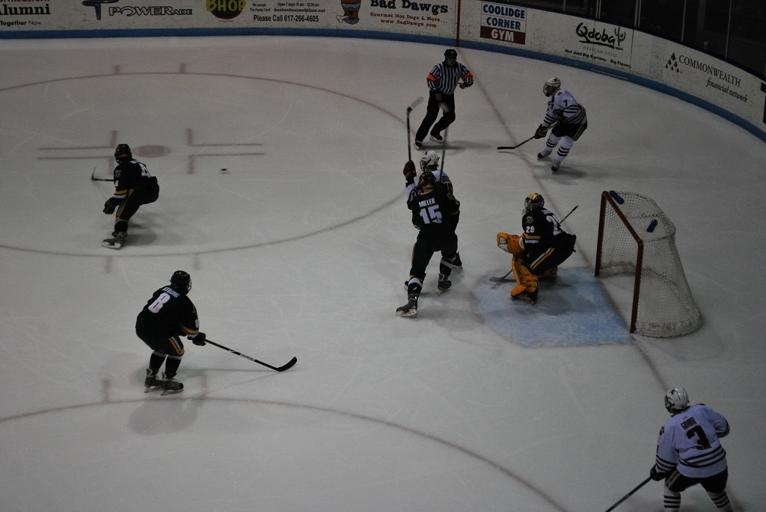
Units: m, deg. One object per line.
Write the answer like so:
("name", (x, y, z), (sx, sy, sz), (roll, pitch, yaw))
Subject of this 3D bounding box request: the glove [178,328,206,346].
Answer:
("glove", (-2.143, 0.911, 8.604), (0.220, 0.091, 0.225), (8, -12, 4))

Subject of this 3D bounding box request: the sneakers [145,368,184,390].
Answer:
("sneakers", (-2.520, 1.423, 8.824), (0.452, 0.198, 0.207), (1, 5, -4))

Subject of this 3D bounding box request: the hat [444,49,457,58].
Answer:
("hat", (1.149, -3.511, 13.268), (0.223, 0.103, 0.280), (-2, 14, -8))

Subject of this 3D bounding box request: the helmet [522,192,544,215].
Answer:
("helmet", (1.985, -0.715, 10.112), (0.240, 0.244, 0.409), (2, 13, 10))

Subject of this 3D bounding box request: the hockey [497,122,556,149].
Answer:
("hockey", (2.565, -2.149, 13.648), (0.182, 0.935, 0.140), (41, 18, -46))

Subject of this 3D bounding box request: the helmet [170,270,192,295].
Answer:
("helmet", (-2.288, 0.252, 8.575), (0.231, 0.273, 0.273), (9, -22, -2))

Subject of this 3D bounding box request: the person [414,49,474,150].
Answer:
("person", (1.075, -2.836, 13.634), (0.977, 1.720, 1.368), (2, 13, 10))

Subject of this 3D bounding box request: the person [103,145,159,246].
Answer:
("person", (-3.670, -0.881, 11.045), (0.823, 1.453, 0.385), (-7, 15, -25))

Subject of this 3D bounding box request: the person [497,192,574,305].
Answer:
("person", (2.038, -0.127, 10.085), (0.791, 1.377, 0.430), (-7, 15, -25))

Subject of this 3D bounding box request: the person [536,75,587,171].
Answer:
("person", (3.027, -2.260, 13.019), (0.819, 1.531, 1.268), (3, 13, 12))

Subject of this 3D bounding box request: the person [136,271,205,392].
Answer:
("person", (-2.464, 0.933, 8.867), (0.831, 1.381, 0.638), (-18, 44, -41))

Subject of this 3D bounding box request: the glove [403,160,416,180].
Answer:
("glove", (0.373, -1.200, 10.708), (0.228, 0.304, 0.124), (7, -28, -10))

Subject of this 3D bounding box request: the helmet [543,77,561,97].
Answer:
("helmet", (2.766, -2.781, 12.504), (0.238, 0.290, 0.267), (4, 14, 17))
